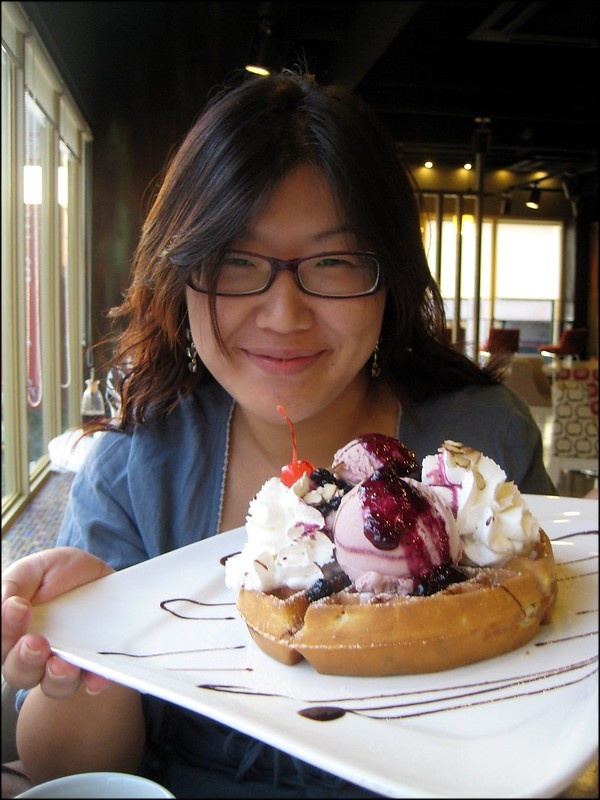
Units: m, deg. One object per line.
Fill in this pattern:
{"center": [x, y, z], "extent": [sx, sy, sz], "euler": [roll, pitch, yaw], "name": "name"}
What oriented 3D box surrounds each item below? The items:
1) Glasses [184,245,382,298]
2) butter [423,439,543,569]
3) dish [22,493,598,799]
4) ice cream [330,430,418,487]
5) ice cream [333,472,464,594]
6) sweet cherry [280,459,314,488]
{"center": [0.005, -0.212, 1.133], "extent": [0.301, 0.083, 0.076], "euler": [-3, 2, -12], "name": "Glasses"}
{"center": [0.256, 0.146, 0.962], "extent": [0.142, 0.072, 0.167], "euler": [-34, 41, -7], "name": "butter"}
{"center": [0.039, 0.246, 0.786], "extent": [0.610, 0.102, 0.618], "euler": [-1, 2, 27], "name": "dish"}
{"center": [0.112, 0.082, 0.942], "extent": [0.100, 0.035, 0.076], "euler": [-1, 22, -2], "name": "ice cream"}
{"center": [0.119, 0.167, 0.868], "extent": [0.136, 0.114, 0.153], "euler": [-2, 2, 7], "name": "ice cream"}
{"center": [-0.010, 0.107, 0.949], "extent": [0.039, 0.053, 0.036], "euler": [-2, -14, -4], "name": "sweet cherry"}
